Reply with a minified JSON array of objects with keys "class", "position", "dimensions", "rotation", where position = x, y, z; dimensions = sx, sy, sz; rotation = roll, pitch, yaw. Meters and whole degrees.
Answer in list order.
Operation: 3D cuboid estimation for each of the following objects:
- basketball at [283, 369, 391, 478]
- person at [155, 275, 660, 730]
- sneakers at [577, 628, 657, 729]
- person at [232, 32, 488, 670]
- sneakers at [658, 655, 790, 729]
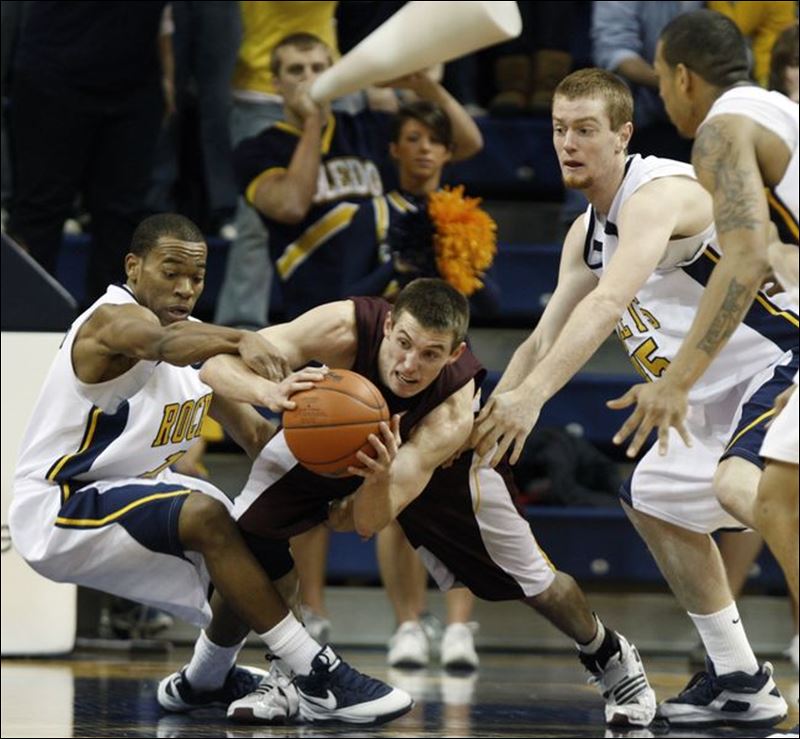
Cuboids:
[{"class":"basketball","position":[-0.147,0.119,2.658],"dimensions":[0.215,0.234,0.213],"rotation":[0,2,12]},{"class":"person","position":[-0.020,0.259,3.189],"dimensions":[1.383,1.353,1.044],"rotation":[2,3,6]},{"class":"sneakers","position":[0.542,0.807,3.115],"dimensions":[0.153,0.110,0.329],"rotation":[26,35,-30]},{"class":"person","position":[-0.048,-0.076,3.649],"dimensions":[0.715,2.070,0.585],"rotation":[-9,4,-18]},{"class":"sneakers","position":[0.809,0.842,3.125],"dimensions":[0.380,0.187,0.141],"rotation":[-1,-15,9]}]
